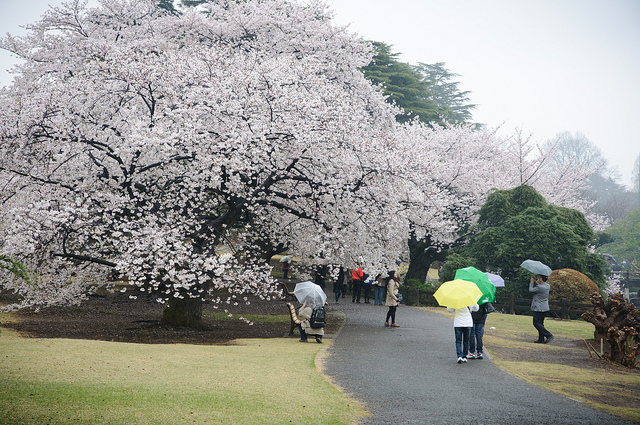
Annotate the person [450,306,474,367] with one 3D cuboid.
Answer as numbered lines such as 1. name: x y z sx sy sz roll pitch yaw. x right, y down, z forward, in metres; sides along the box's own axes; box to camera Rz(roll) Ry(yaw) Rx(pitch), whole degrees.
1. person: 4.668 4.003 18.550 0.587 1.907 1.357 4 3 17

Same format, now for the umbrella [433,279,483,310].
1. umbrella: 4.431 2.717 18.281 1.420 0.908 0.754 4 2 12

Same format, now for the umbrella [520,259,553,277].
1. umbrella: 8.576 2.307 22.460 0.707 0.447 0.946 3 2 -18

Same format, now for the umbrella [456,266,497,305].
1. umbrella: 5.390 2.451 19.390 1.340 1.189 1.090 12 -40 2

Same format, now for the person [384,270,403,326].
1. person: 3.101 3.683 24.281 0.585 2.435 1.419 4 3 4

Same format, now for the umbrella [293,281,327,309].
1. umbrella: -0.389 3.010 20.732 0.980 0.889 0.688 7 -34 -31

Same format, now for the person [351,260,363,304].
1. person: 2.053 4.194 32.190 0.604 1.993 1.567 4 2 3
